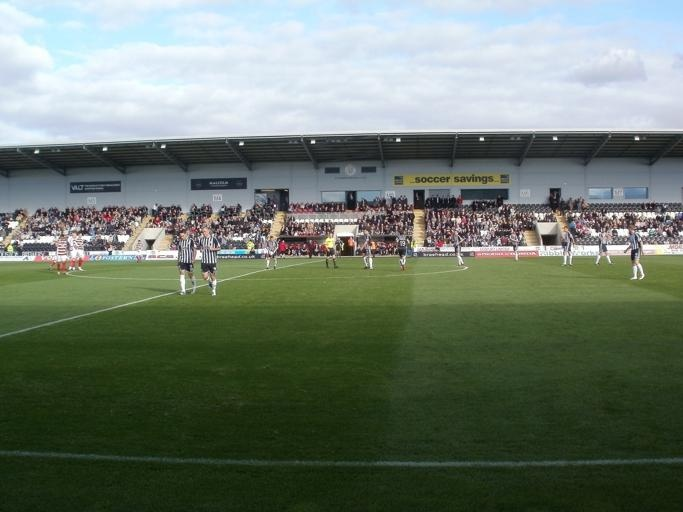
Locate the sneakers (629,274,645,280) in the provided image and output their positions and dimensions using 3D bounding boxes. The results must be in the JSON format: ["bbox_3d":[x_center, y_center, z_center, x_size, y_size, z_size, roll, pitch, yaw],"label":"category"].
[{"bbox_3d":[9.667,0.719,25.513,0.486,0.189,0.154,-4,6,24],"label":"sneakers"}]
